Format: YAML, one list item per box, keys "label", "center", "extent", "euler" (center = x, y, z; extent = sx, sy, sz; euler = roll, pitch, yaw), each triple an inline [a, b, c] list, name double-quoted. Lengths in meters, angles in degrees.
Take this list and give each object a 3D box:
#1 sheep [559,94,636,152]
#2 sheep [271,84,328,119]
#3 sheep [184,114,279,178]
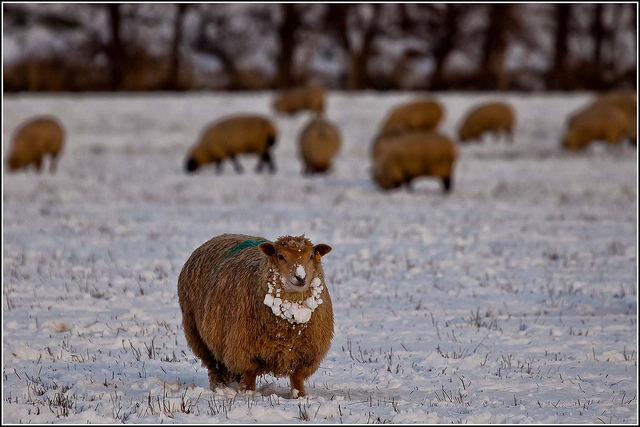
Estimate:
- label: "sheep"
  center: [12.478, -3.956, 56.248]
  extent: [3.214, 2.421, 1.117]
  euler: [-7, -9, 33]
- label: "sheep"
  center: [-0.611, -4.863, 54.820]
  extent: [2.145, 2.009, 2.404]
  euler: [-13, 15, -27]
- label: "sheep"
  center: [-3.501, -2.632, 53.425]
  extent: [3.353, 2.824, 2.993]
  euler: [11, 21, 42]
